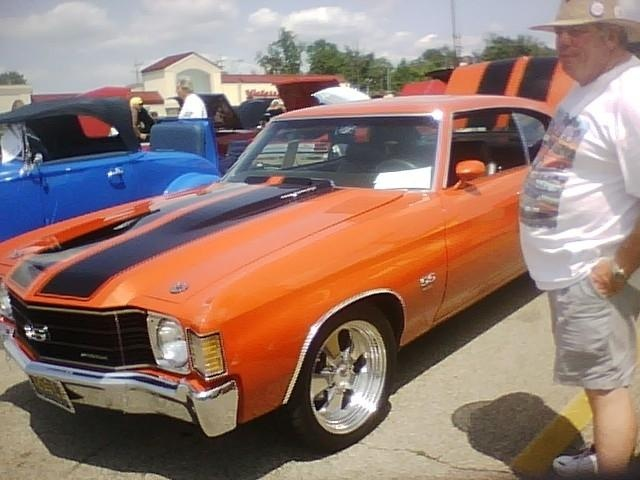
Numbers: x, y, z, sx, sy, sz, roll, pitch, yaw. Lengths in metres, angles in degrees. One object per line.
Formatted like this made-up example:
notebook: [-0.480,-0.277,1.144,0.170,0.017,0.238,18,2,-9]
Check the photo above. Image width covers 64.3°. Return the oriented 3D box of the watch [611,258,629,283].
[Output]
watch: [1.267,0.135,2.157,0.065,0.083,0.034,-6,14,42]

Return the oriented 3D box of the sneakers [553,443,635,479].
sneakers: [1.368,1.124,2.568,0.358,0.124,0.110,-2,7,20]
